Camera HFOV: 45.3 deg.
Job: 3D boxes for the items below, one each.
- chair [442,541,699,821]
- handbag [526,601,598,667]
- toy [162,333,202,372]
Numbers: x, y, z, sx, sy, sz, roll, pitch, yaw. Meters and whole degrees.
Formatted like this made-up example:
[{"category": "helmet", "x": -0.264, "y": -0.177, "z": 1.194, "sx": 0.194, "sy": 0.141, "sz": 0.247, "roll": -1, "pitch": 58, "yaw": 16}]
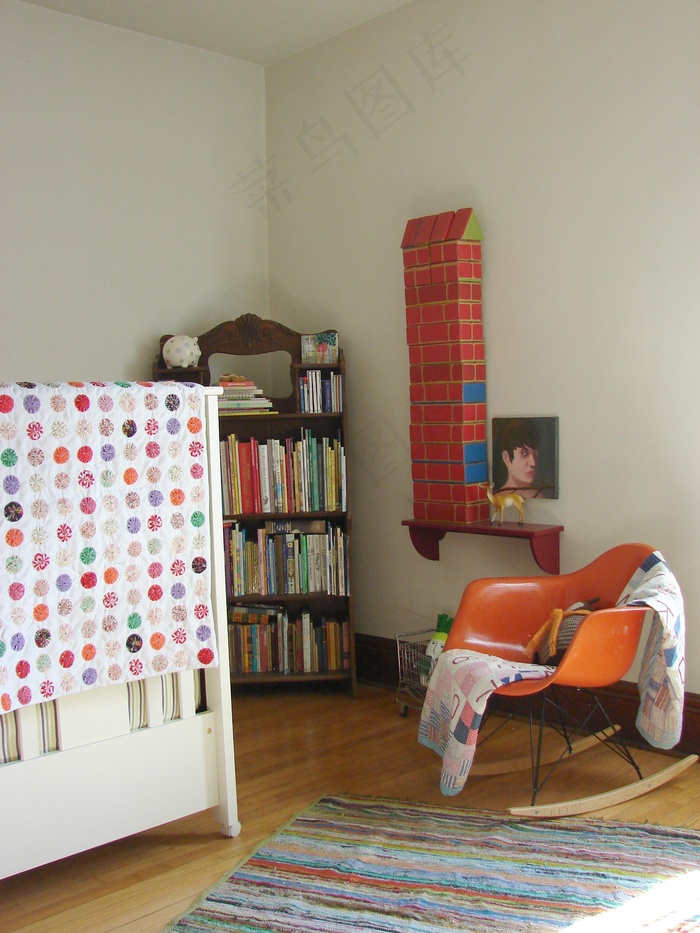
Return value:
[{"category": "chair", "x": 0.629, "y": 0.646, "z": 2.771, "sx": 0.884, "sy": 0.808, "sz": 0.673, "roll": -2, "pitch": 1, "yaw": -24}, {"category": "handbag", "x": 0.659, "y": 0.515, "z": 2.651, "sx": 0.088, "sy": 0.223, "sz": 0.206, "roll": 36, "pitch": -10, "yaw": -16}, {"category": "toy", "x": -0.753, "y": -0.503, "z": 3.749, "sx": 0.176, "sy": 0.151, "sz": 0.156, "roll": -3, "pitch": 0, "yaw": -11}]
